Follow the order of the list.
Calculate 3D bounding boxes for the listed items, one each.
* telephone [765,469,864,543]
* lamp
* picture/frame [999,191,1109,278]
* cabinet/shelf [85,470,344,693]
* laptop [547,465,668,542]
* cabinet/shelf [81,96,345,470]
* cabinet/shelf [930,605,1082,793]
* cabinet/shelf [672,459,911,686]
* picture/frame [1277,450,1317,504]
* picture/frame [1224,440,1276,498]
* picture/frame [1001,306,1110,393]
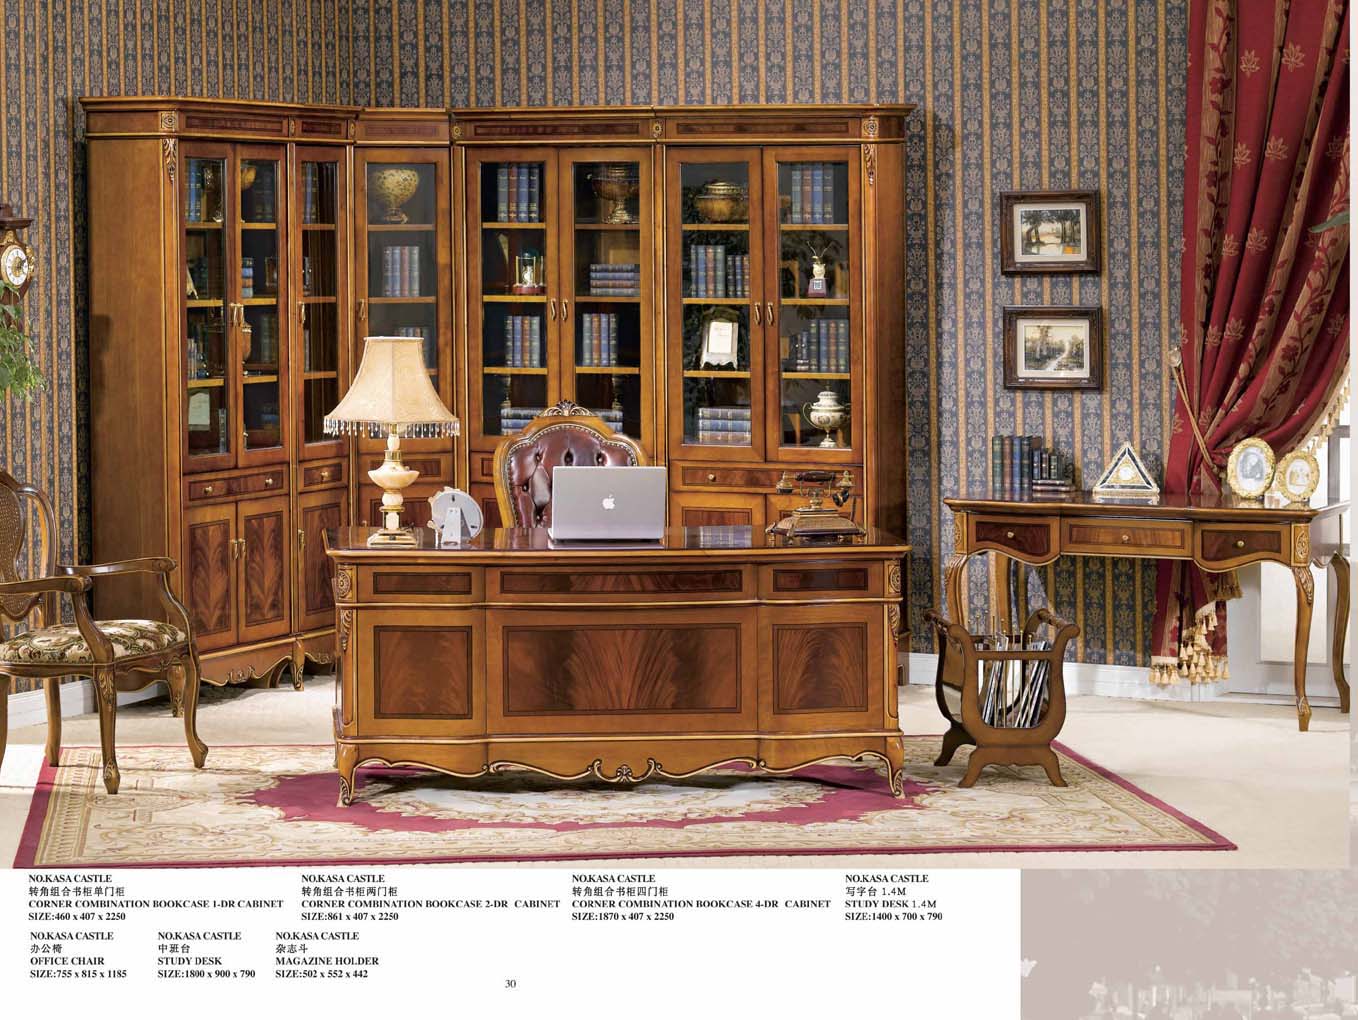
[{"bbox_3d":[0.517,-0.019,5.090,0.294,0.255,0.225,-1,4,-17],"label":"telephone"},{"bbox_3d":[-1.074,-0.268,5.126,0.447,0.747,0.384,3,5,42],"label":"lamp"},{"bbox_3d":[1.910,-1.391,6.844,0.372,0.378,0.044,0,1,4],"label":"picture/frame"},{"bbox_3d":[-2.037,0.339,6.913,1.056,1.196,0.405,-8,-14,23],"label":"cabinet/shelf"},{"bbox_3d":[-0.257,-0.092,5.008,0.350,0.278,0.264,1,4,-3],"label":"laptop"},{"bbox_3d":[-2.206,-1.094,6.646,1.189,1.693,0.350,-3,4,-40],"label":"cabinet/shelf"},{"bbox_3d":[1.306,0.702,5.512,0.507,0.657,0.724,-1,6,1],"label":"cabinet/shelf"},{"bbox_3d":[0.383,0.336,5.195,0.765,1.152,0.378,13,-10,-5],"label":"cabinet/shelf"},{"bbox_3d":[2.824,-0.139,6.219,0.217,0.311,0.023,-1,-18,40],"label":"picture/frame"},{"bbox_3d":[2.676,-0.184,6.364,0.045,0.309,0.238,5,-3,-38],"label":"picture/frame"},{"bbox_3d":[1.926,-0.818,6.880,0.373,0.381,0.042,0,-1,5],"label":"picture/frame"}]
